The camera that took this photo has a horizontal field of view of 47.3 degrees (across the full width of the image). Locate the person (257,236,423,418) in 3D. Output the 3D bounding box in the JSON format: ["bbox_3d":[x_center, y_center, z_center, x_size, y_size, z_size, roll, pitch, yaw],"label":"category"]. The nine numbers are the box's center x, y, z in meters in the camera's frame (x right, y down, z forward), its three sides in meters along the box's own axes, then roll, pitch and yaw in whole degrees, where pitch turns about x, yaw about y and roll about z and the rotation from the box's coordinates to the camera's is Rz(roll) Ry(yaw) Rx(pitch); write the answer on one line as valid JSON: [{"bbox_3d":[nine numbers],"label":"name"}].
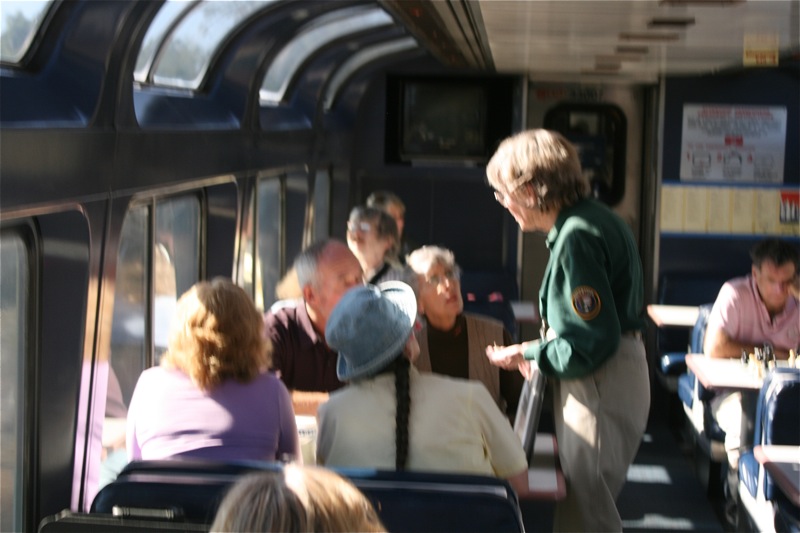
[{"bbox_3d":[-0.344,0.362,5.127,0.651,1.344,0.380,-13,10,-24],"label":"person"}]

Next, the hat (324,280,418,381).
[{"bbox_3d":[-0.142,0.267,4.422,0.491,0.221,0.584,-14,26,53],"label":"hat"}]

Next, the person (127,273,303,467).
[{"bbox_3d":[-0.990,0.720,4.907,0.876,1.284,0.610,2,-14,-18],"label":"person"}]

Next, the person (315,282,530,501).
[{"bbox_3d":[0.092,0.791,4.589,0.886,1.460,0.901,-13,-15,11],"label":"person"}]

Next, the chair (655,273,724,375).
[{"bbox_3d":[1.935,0.344,6.106,0.456,0.641,0.345,0,1,11],"label":"chair"}]
